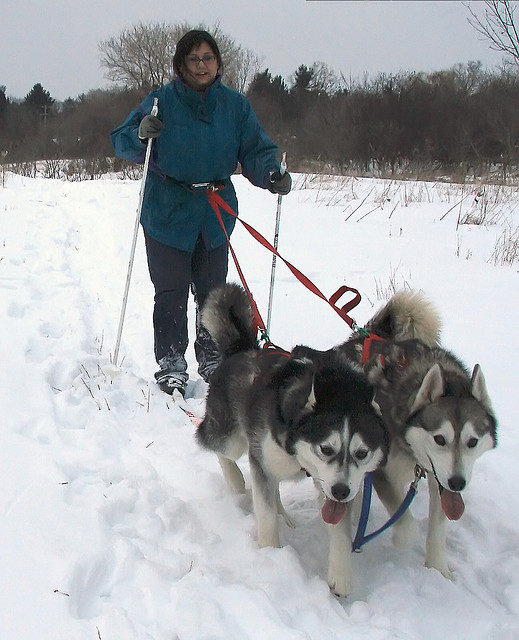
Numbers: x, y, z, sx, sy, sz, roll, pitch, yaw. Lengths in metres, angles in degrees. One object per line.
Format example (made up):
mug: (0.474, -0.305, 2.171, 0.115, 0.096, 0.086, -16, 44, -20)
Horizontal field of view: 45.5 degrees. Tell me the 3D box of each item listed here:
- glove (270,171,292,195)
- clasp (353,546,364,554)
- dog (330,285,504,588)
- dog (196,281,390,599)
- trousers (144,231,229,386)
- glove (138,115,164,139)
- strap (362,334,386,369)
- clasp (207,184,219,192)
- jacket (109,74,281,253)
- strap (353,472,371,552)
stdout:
glove: (0.126, -0.835, 3.756, 0.115, 0.137, 0.222, 11, 10, 7)
clasp: (0.397, 0.937, 2.515, 0.011, 0.043, 0.044, 57, 14, 28)
dog: (0.620, 0.524, 2.871, 0.386, 0.964, 1.605, 5, 11, -4)
dog: (0.064, 0.460, 2.769, 0.426, 1.053, 1.610, -3, 17, -23)
trousers: (-0.469, -0.128, 4.169, 0.429, 1.321, 0.358, 0, 28, -16)
glove: (-0.611, -1.081, 3.470, 0.128, 0.137, 0.071, 7, 8, -16)
strap: (0.504, 0.135, 2.830, 0.086, 0.153, 0.032, -3, -16, 32)
clasp: (-0.298, -0.825, 3.863, 0.039, 0.030, 0.064, 0, 2, 2)
jacket: (-0.368, -1.008, 3.872, 0.941, 1.275, 0.713, -7, 38, -23)
strap: (0.421, 0.772, 2.491, 0.040, 0.477, 0.065, 5, -25, 8)
